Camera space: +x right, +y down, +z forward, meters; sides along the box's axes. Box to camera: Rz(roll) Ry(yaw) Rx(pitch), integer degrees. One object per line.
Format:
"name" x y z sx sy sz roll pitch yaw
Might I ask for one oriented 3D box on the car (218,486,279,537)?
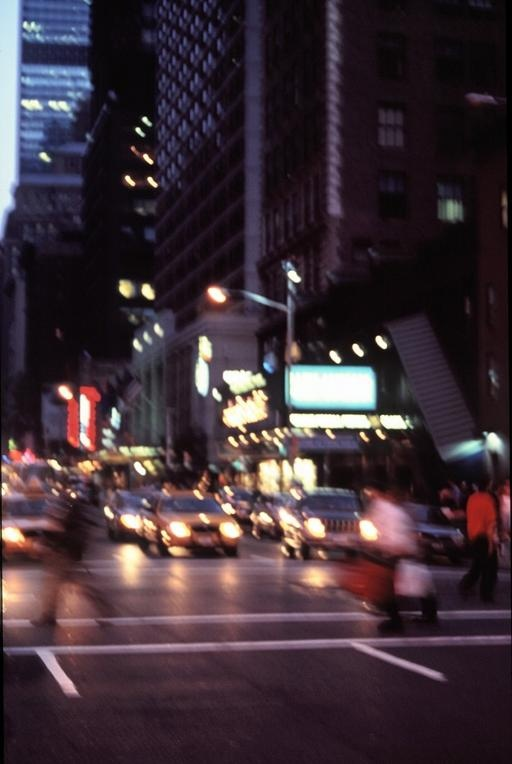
"car" -0.139 4.472 35.335 1.085 1.204 2.856 0 2 -8

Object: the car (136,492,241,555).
"car" -1.530 3.133 22.327 1.508 1.437 3.303 3 -7 -24

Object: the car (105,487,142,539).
"car" -3.555 3.621 27.415 0.737 0.998 2.068 1 -8 -13

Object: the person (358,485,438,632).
"person" 1.512 1.852 10.649 0.667 1.566 1.234 0 -5 9
